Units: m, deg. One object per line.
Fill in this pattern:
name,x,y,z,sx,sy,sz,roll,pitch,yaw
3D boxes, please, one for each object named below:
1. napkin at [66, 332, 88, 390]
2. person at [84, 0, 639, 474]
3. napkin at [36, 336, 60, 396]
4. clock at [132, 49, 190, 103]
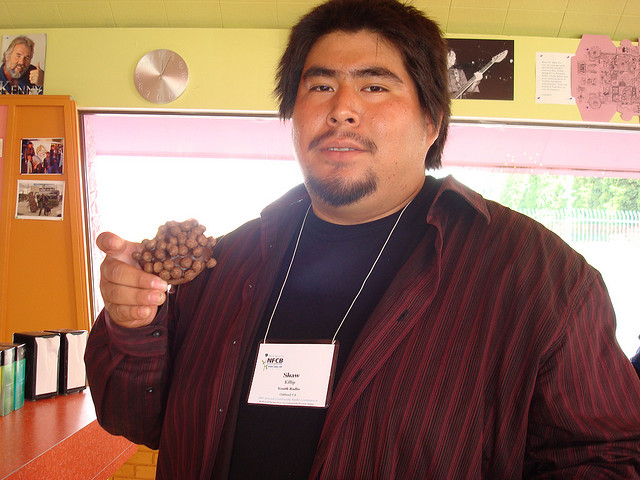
napkin,-1.123,0.550,2.368,0.084,0.278,0.160,2,6,-24
person,0.105,-0.019,1.446,1.401,1.399,0.537,5,5,11
napkin,-1.187,0.545,2.240,0.031,0.259,0.113,6,6,21
clock,-1.116,-1.133,3.621,0.360,0.347,0.047,6,-1,8
